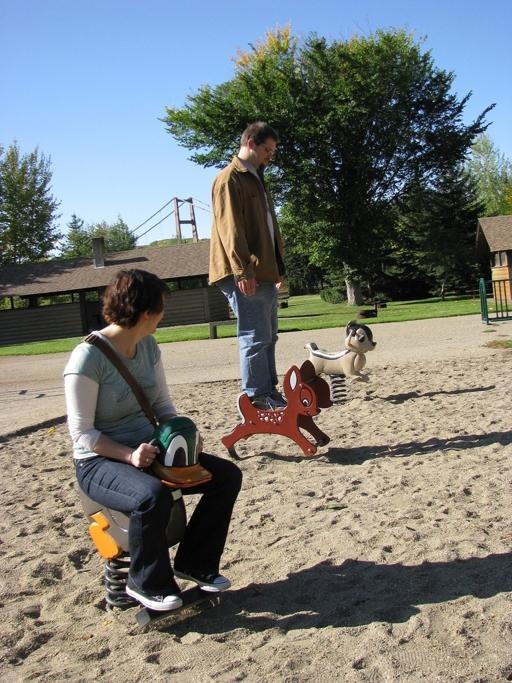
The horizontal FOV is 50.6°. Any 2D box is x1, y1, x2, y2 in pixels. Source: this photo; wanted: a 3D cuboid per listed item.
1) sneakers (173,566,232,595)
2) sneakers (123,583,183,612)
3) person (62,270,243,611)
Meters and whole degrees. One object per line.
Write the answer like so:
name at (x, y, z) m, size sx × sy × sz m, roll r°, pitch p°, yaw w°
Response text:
sneakers at (-0.221, 0.930, 2.154) m, size 0.236 × 0.082 × 0.087 m, roll -4°, pitch 1°, yaw 33°
sneakers at (-0.369, 0.898, 1.933) m, size 0.195 × 0.073 × 0.073 m, roll -3°, pitch -6°, yaw 33°
person at (-0.403, 0.394, 2.174) m, size 0.628 × 1.099 × 0.679 m, roll -9°, pitch 4°, yaw -20°
